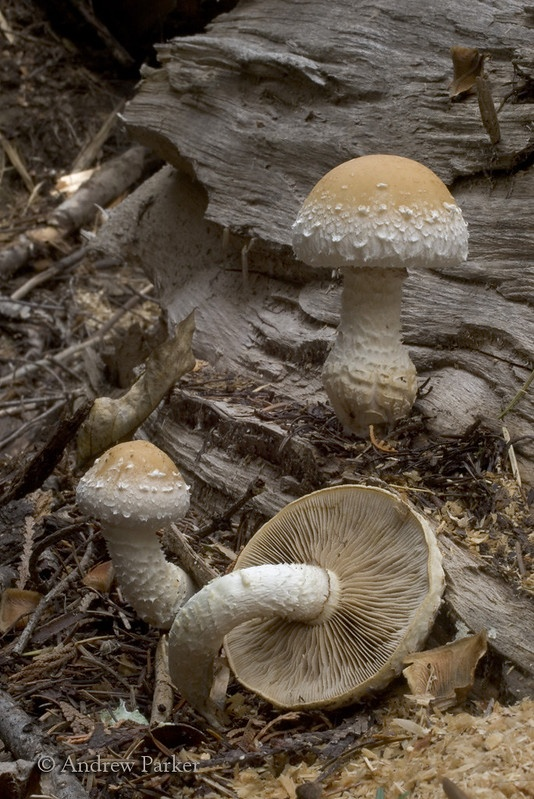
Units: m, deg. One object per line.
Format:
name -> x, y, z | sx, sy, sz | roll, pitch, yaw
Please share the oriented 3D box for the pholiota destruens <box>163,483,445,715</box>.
pholiota destruens -> 0.153, 0.751, 2.749 | 0.937, 0.377, 0.695 | -20, 45, 5
